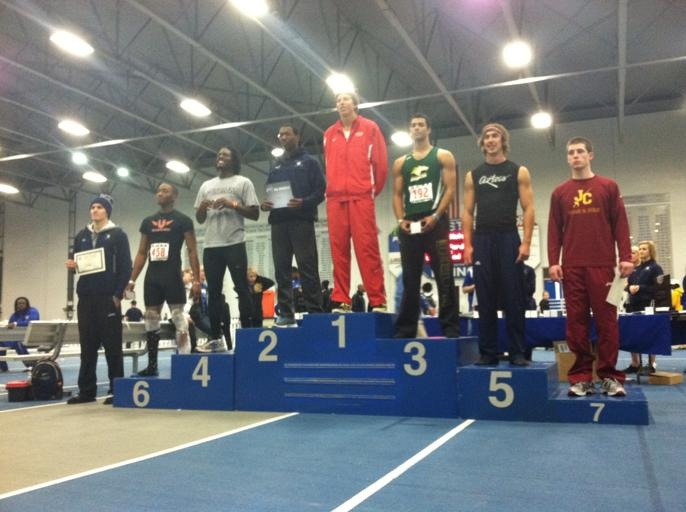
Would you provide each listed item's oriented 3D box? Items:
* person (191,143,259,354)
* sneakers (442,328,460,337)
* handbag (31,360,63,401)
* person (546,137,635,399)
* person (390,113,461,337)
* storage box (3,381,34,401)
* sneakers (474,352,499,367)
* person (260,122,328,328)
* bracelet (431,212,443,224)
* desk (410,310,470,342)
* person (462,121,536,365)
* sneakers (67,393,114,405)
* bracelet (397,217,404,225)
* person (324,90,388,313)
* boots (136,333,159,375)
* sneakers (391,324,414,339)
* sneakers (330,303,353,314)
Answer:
[{"bbox_3d":[-1.364,-0.032,7.560,0.775,2.501,1.089,-4,9,-11],"label":"person"},{"bbox_3d":[1.140,0.792,6.686,0.183,0.120,0.159,-1,9,8],"label":"sneakers"},{"bbox_3d":[-3.924,1.615,8.421,0.378,0.545,0.280,4,10,-9],"label":"handbag"},{"bbox_3d":[2.502,0.092,6.449,0.790,2.561,0.781,1,9,18],"label":"person"},{"bbox_3d":[0.899,-0.313,6.866,0.702,2.383,0.785,-1,9,5],"label":"person"},{"bbox_3d":[-4.244,1.763,8.337,0.341,0.251,0.237,-1,-1,12],"label":"storage box"},{"bbox_3d":[1.527,1.102,6.707,0.317,0.137,0.098,16,-21,-39],"label":"sneakers"},{"bbox_3d":[-0.553,-0.347,7.296,0.734,2.270,0.874,-2,9,1],"label":"person"},{"bbox_3d":[0.986,-0.401,6.715,0.026,0.105,0.101,15,-2,-35],"label":"bracelet"},{"bbox_3d":[1.513,1.121,9.401,0.591,0.403,0.640,-1,-5,15],"label":"desk"},{"bbox_3d":[1.638,-0.127,6.715,0.695,2.465,0.706,0,9,15],"label":"person"},{"bbox_3d":[-3.163,1.789,7.937,0.541,0.201,0.187,5,-15,-11],"label":"sneakers"},{"bbox_3d":[0.626,-0.382,6.894,0.063,0.063,0.067,2,6,37],"label":"bracelet"},{"bbox_3d":[0.147,-0.575,7.017,0.702,2.499,0.769,-2,9,2],"label":"person"},{"bbox_3d":[-2.372,1.199,7.740,0.294,0.520,0.674,-5,10,-18],"label":"boots"},{"bbox_3d":[0.635,0.823,6.834,0.253,0.109,0.094,8,-15,-10],"label":"sneakers"},{"bbox_3d":[-0.033,0.588,7.032,0.264,0.125,0.100,-2,-19,38],"label":"sneakers"}]
